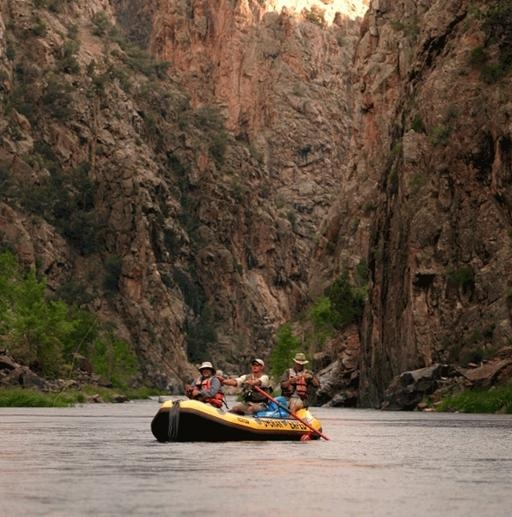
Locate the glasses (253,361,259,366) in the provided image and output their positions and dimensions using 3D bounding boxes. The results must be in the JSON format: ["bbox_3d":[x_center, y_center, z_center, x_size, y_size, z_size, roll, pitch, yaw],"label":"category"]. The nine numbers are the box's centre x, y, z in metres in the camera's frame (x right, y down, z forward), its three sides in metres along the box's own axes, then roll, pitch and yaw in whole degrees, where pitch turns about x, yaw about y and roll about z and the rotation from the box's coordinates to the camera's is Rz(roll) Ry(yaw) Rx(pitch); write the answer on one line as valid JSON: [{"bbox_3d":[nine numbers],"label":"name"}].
[{"bbox_3d":[-0.047,3.807,42.601,0.119,0.071,0.218,4,-43,15],"label":"glasses"}]
